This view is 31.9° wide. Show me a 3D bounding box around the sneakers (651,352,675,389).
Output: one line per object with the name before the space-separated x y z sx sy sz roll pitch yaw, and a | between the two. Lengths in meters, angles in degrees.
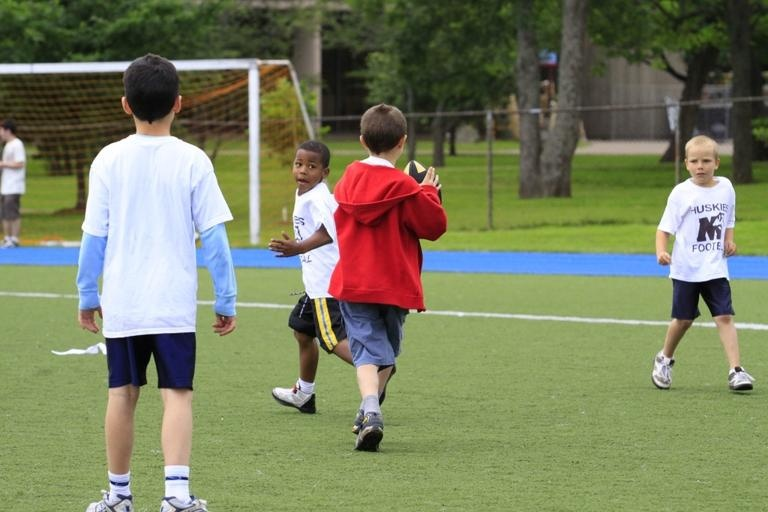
sneakers | 2.342 0.959 11.438 0.177 0.292 0.281 2 7 10

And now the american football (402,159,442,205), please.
american football | 0.328 -0.581 10.746 0.273 0.376 0.269 -9 11 -7

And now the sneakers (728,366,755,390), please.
sneakers | 2.969 1.047 11.315 0.119 0.125 0.296 1 -11 -4

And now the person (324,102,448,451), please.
person | -0.061 0.136 10.518 0.742 2.643 0.843 7 9 43

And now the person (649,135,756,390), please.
person | 2.665 0.055 11.359 0.762 2.103 0.474 2 7 10

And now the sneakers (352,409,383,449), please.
sneakers | -0.128 1.330 10.284 0.199 0.320 0.260 0 7 -7
